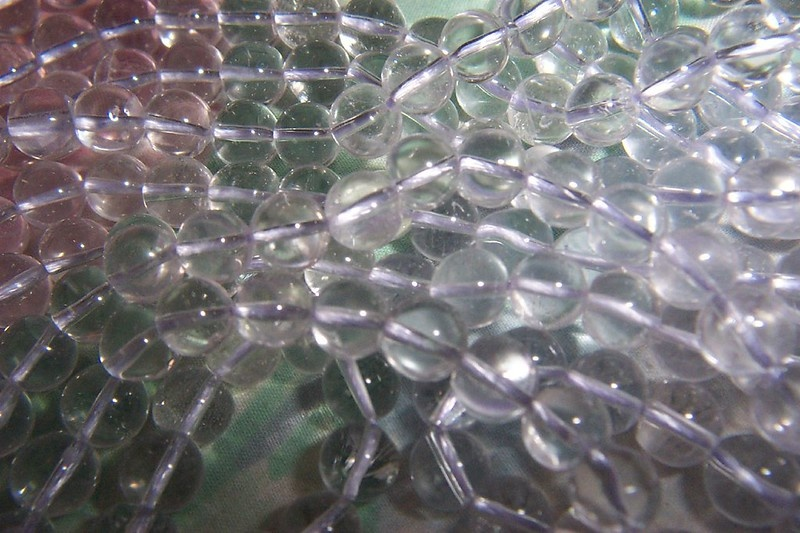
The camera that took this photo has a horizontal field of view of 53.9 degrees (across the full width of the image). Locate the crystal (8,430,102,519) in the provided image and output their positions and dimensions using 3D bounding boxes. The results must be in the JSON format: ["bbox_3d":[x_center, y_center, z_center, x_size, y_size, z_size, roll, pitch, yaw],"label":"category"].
[{"bbox_3d":[-0.616,0.368,1.403,0.148,0.086,0.118,-18,52,-23],"label":"crystal"}]

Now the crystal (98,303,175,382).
[{"bbox_3d":[-0.466,0.141,1.374,0.104,0.099,0.108,-30,57,-31],"label":"crystal"}]
